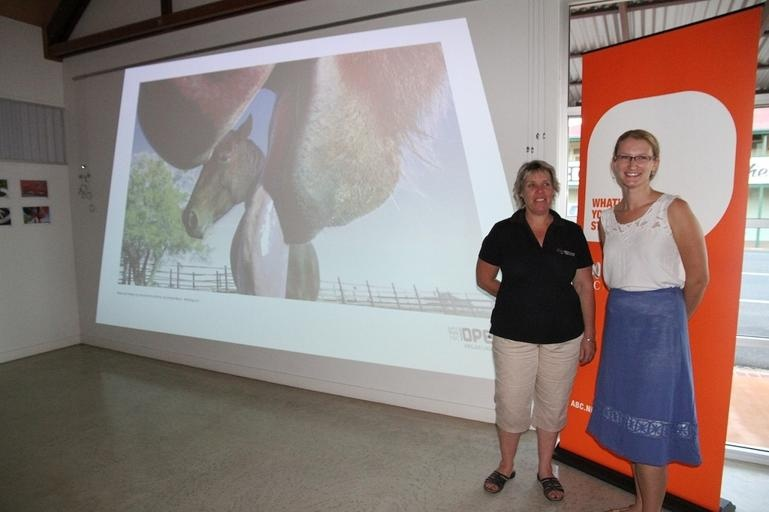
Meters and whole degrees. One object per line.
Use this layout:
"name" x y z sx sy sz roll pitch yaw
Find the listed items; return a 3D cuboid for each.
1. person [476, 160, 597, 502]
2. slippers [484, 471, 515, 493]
"person" 1.136 0.527 3.438 0.870 2.476 0.340 0 5 8
"slippers" 0.837 1.686 3.466 0.091 0.073 0.253 -4 -6 33
